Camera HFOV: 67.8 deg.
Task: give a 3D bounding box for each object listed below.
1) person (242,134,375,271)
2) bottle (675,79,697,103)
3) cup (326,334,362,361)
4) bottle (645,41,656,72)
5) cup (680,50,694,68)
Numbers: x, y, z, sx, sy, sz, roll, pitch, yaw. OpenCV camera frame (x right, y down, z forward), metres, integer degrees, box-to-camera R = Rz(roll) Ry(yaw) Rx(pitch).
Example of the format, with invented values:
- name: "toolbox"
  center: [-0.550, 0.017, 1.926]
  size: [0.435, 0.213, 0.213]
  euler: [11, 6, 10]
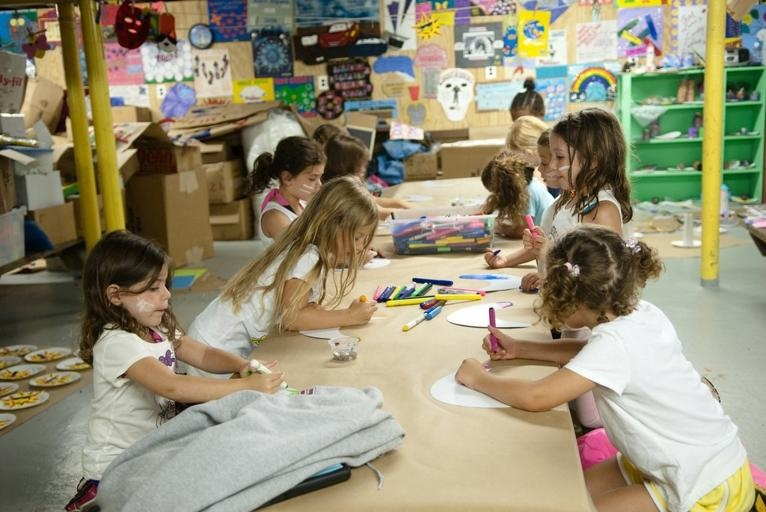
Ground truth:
- name: "person"
  center: [-0.498, -0.056, 3.227]
  size: [0.436, 1.214, 0.353]
  euler: [-6, 26, -9]
- name: "bottle"
  center: [3.468, -1.892, 6.535]
  size: [0.196, 0.285, 0.078]
  euler: [8, 2, 16]
- name: "cup"
  center: [-0.140, 0.325, 2.019]
  size: [0.084, 0.049, 0.082]
  euler: [-1, 5, 0]
- name: "bottle"
  center: [3.078, -2.293, 6.572]
  size: [0.117, 0.358, 0.418]
  euler: [6, 14, 23]
- name: "cup"
  center: [3.515, -2.284, 6.600]
  size: [0.138, 0.198, 0.289]
  euler: [6, 14, 24]
